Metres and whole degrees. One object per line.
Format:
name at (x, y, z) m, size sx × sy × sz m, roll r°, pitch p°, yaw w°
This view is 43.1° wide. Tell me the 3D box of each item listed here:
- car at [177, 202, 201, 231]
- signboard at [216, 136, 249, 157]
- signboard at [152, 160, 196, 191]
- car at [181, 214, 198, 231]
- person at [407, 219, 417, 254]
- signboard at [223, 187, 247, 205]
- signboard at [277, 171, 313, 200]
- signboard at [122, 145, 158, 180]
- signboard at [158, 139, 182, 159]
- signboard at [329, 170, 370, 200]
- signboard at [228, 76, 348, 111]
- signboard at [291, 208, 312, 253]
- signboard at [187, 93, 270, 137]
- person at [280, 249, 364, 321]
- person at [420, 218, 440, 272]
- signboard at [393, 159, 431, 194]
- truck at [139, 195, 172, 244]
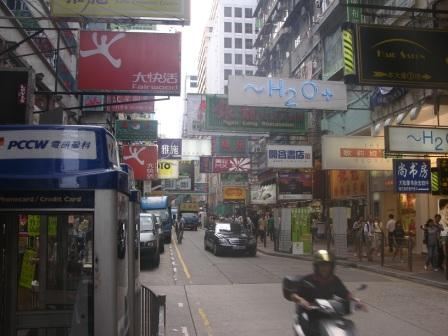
car at (-4.209, 6.239, 67.812) m, size 1.832 × 3.548 × 6.541 m, roll 1°, pitch -16°, yaw -7°
signboard at (0.968, -2.276, 62.563) m, size 3.919 × 2.557 × 2.888 m, roll 1°, pitch 15°, yaw -2°
signboard at (-7.393, 2.094, 96.102) m, size 5.617 × 4.053 × 6.075 m, roll 0°, pitch -14°, yaw -4°
car at (-3.752, 5.506, 63.523) m, size 1.860 × 2.069 × 3.679 m, roll 1°, pitch -16°, yaw -7°
person at (8.628, 3.119, 25.813) m, size 0.379 × 1.548 × 1.635 m, roll -4°, pitch -6°, yaw 18°
signboard at (1.460, 3.565, 72.621) m, size 3.161 × 2.094 × 2.424 m, roll 0°, pitch 15°, yaw 2°
signboard at (4.274, 1.024, 34.063) m, size 1.355 × 1.335 × 0.516 m, roll 1°, pitch -6°, yaw 1°
signboard at (-4.405, -0.361, 30.323) m, size 1.669 × 1.927 × 0.644 m, roll 0°, pitch -5°, yaw 2°
signboard at (-4.325, -1.537, 45.672) m, size 2.198 × 1.884 × 1.296 m, roll 1°, pitch -1°, yaw -8°
signboard at (7.685, 0.773, 34.588) m, size 0.364 × 1.963 × 3.689 m, roll -1°, pitch -4°, yaw -21°
signboard at (3.377, -4.041, 30.219) m, size 6.044 × 2.276 × 0.372 m, roll -4°, pitch -5°, yaw -1°
signboard at (3.680, 2.921, 26.972) m, size 0.951 × 2.153 × 1.229 m, roll -4°, pitch -6°, yaw 12°
signboard at (0.207, -3.712, 48.476) m, size 6.957 × 3.705 × 4.389 m, roll 3°, pitch -26°, yaw -10°
person at (1.432, 1.664, 8.229) m, size 0.675 × 0.875 × 1.243 m, roll 1°, pitch -20°, yaw -18°
person at (7.346, 2.720, 20.143) m, size 0.534 × 1.810 × 0.926 m, roll -5°, pitch -6°, yaw 20°
signboard at (7.020, 0.285, 21.141) m, size 1.036 × 1.104 × 0.164 m, roll 1°, pitch -10°, yaw -3°
truck at (-4.150, 2.870, 36.456) m, size 2.172 × 3.883 × 6.638 m, roll 0°, pitch -9°, yaw -2°
